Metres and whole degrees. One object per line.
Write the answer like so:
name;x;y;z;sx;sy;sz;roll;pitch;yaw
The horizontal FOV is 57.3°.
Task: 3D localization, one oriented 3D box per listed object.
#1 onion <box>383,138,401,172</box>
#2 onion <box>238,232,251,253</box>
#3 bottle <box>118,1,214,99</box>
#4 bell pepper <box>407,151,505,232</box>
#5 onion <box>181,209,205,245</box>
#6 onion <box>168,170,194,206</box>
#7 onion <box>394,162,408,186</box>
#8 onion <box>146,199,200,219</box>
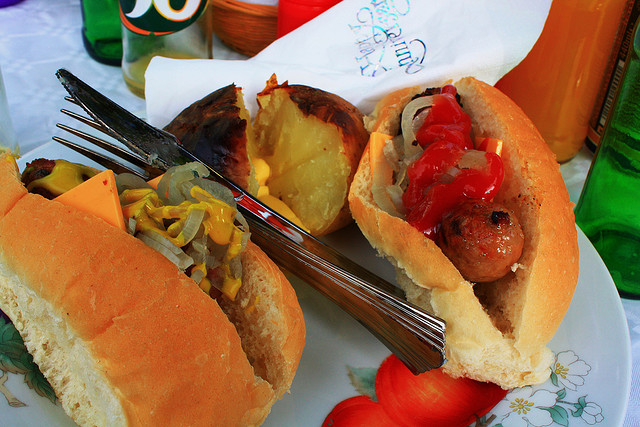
onion;0.229;-0.189;1.885;0.045;0.024;0.108;-5;88;-13
onion;-0.197;0.079;1.565;0.015;0.031;0.047;20;69;-10
bottle;-0.594;-0.634;2.267;0.230;0.381;0.230;4;57;-5
bell pepper;0.387;-0.074;1.768;0.299;0.189;0.196;-12;30;-14
onion;-0.310;0.036;1.475;0.016;0.054;0.074;31;68;-32
onion;-0.364;-0.070;1.503;0.056;0.068;0.083;25;99;25
onion;0.256;-0.123;1.834;0.021;0.085;0.019;14;11;-45
onion;-0.375;-0.012;1.477;0.077;0.028;0.064;-7;37;-19
